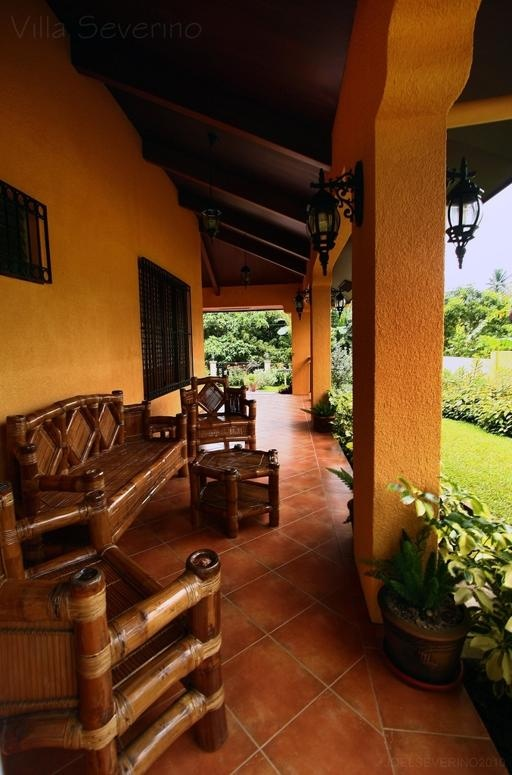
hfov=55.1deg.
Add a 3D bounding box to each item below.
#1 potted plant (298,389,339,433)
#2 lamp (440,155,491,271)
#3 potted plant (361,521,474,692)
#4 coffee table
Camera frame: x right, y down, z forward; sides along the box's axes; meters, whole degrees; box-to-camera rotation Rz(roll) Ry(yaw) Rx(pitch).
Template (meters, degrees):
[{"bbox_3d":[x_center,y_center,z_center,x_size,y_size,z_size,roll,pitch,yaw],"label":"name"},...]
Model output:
[{"bbox_3d":[0.830,0.331,6.529,0.459,0.522,0.492,1,-4,-6],"label":"potted plant"},{"bbox_3d":[1.318,-1.124,3.124,0.200,0.642,0.317,2,6,23],"label":"lamp"},{"bbox_3d":[0.590,0.814,1.819,0.361,0.486,0.328,2,7,25],"label":"potted plant"},{"bbox_3d":[-0.175,0.662,3.265,0.405,0.439,0.592,-3,9,-19],"label":"coffee table"}]
